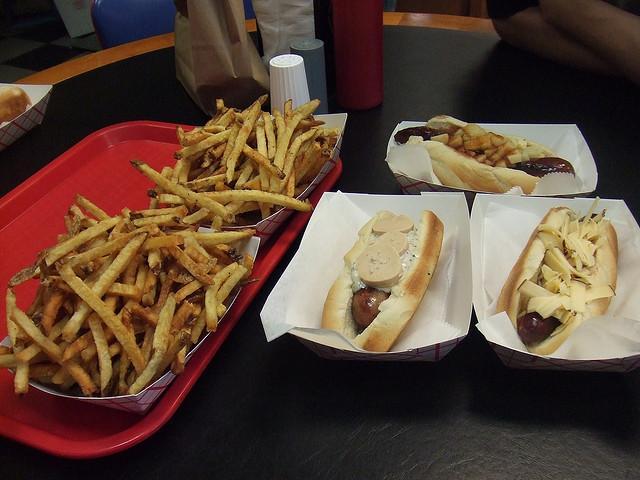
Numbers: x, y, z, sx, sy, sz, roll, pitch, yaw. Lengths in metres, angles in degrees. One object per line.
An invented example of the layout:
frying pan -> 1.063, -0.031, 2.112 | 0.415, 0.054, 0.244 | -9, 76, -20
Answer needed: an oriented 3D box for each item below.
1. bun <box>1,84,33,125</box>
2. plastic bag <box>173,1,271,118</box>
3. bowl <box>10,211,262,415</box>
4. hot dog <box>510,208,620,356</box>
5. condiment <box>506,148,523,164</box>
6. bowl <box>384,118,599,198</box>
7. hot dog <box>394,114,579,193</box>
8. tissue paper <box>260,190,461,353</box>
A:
bun -> -1.692, -0.758, 2.752 | 0.142, 0.147, 0.253 | -21, 51, -11
plastic bag -> -0.460, -0.885, 2.617 | 0.364, 0.709, 0.446 | -13, 28, -25
bowl -> -0.549, 0.193, 1.655 | 0.561, 0.168, 0.746 | 21, 51, 15
hot dog -> 0.868, 0.185, 1.757 | 0.272, 0.200, 0.587 | 14, 59, 35
condiment -> 0.798, -0.342, 2.050 | 0.056, 0.042, 0.058 | -29, 40, 32
bowl -> 0.717, -0.280, 2.112 | 0.692, 0.226, 0.451 | 4, 35, 11
hot dog -> 0.669, -0.355, 2.086 | 0.666, 0.231, 0.342 | 13, 43, 23
tissue paper -> 0.067, 0.126, 1.782 | 0.497, 0.185, 0.589 | 9, 52, 26
